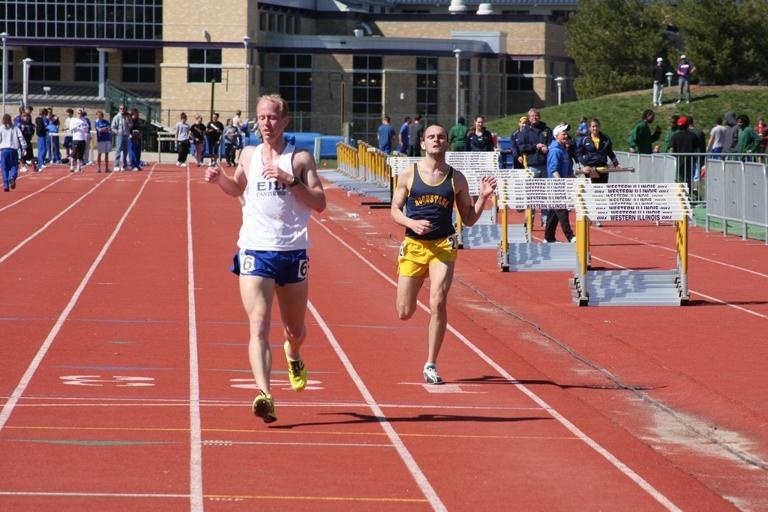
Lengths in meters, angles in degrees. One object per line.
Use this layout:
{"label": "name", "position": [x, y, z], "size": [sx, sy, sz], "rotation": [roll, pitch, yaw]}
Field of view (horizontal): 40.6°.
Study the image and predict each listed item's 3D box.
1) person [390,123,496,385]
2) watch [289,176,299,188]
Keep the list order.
{"label": "person", "position": [0.569, -0.019, 10.757], "size": [1.027, 2.649, 0.771], "rotation": [1, 8, 4]}
{"label": "watch", "position": [-0.776, -0.663, 9.141], "size": [0.064, 0.097, 0.092], "rotation": [42, -40, -23]}
